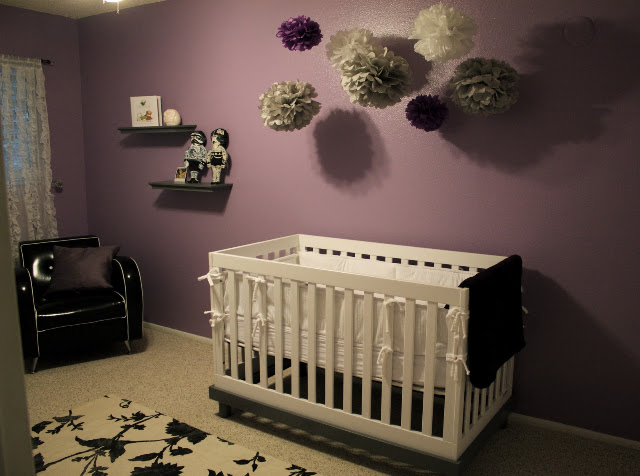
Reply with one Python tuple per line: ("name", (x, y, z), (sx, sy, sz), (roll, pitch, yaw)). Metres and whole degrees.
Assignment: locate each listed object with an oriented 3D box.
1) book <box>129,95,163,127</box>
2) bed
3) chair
("book", (-1.423, -1.058, 4.291), (0.249, 0.244, 0.031), (9, 16, 27))
("bed", (0.294, 0.251, 3.123), (1.578, 1.111, 1.165), (9, 18, 32))
("chair", (-1.935, 0.410, 4.238), (0.876, 1.070, 0.938), (-2, 3, -33))
